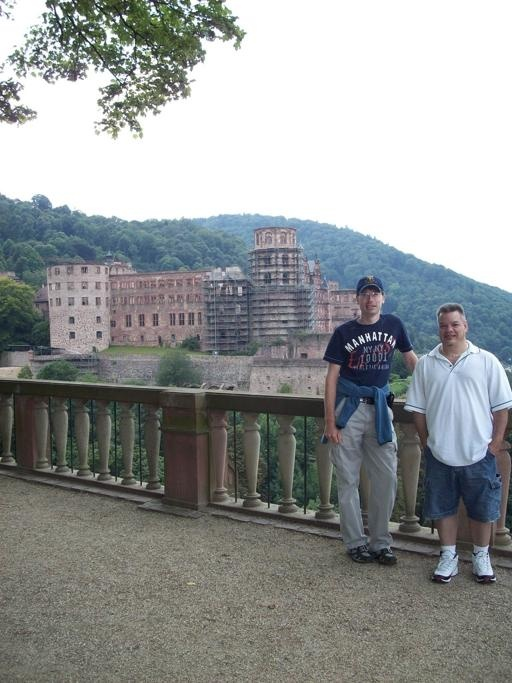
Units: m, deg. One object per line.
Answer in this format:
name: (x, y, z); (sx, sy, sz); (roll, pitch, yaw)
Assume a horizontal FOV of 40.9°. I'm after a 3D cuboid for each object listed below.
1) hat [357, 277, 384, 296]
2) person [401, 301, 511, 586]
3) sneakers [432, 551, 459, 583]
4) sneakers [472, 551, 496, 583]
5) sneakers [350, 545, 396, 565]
hat: (0.692, -0.341, 4.209); (0.172, 0.117, 0.273); (1, 5, 10)
person: (1.108, 0.541, 3.788); (0.564, 1.372, 0.353); (-1, 0, 17)
sneakers: (1.015, 1.215, 3.679); (0.081, 0.106, 0.230); (-2, -2, 27)
sneakers: (1.226, 1.210, 3.710); (0.121, 0.150, 0.154); (-1, 0, 17)
sneakers: (0.692, 1.255, 4.061); (0.260, 0.112, 0.100); (-7, -6, 30)
